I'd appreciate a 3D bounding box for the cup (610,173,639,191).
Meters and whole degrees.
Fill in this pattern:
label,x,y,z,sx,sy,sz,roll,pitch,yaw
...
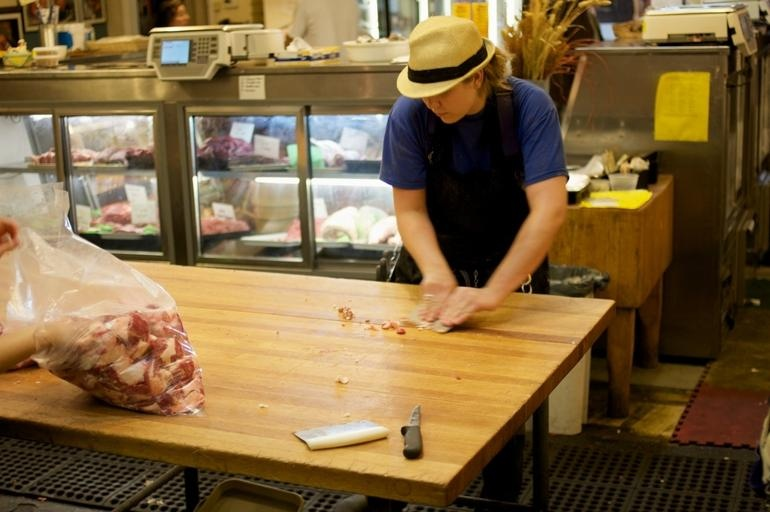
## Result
label,x,y,z,sx,sy,sz,roll,pitch,yaw
cup,1.491,-0.463,4.042,0.125,0.085,0.124,0,-3,0

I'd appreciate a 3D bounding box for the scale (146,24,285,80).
label,x,y,z,sx,sy,sz,roll,pitch,yaw
scale,-1.189,-1.408,4.510,0.935,0.328,0.320,-5,16,-11

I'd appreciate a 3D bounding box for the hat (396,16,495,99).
label,x,y,z,sx,sy,sz,roll,pitch,yaw
hat,0.242,-0.770,2.510,0.297,0.148,0.362,9,50,35

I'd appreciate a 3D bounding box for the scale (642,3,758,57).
label,x,y,z,sx,sy,sz,roll,pitch,yaw
scale,2.092,-1.525,4.342,0.460,0.177,0.459,2,13,18

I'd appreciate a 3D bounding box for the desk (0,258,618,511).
label,x,y,z,sx,sy,sz,roll,pitch,yaw
desk,-0.294,0.447,2.205,1.135,0.582,0.757,5,15,24
